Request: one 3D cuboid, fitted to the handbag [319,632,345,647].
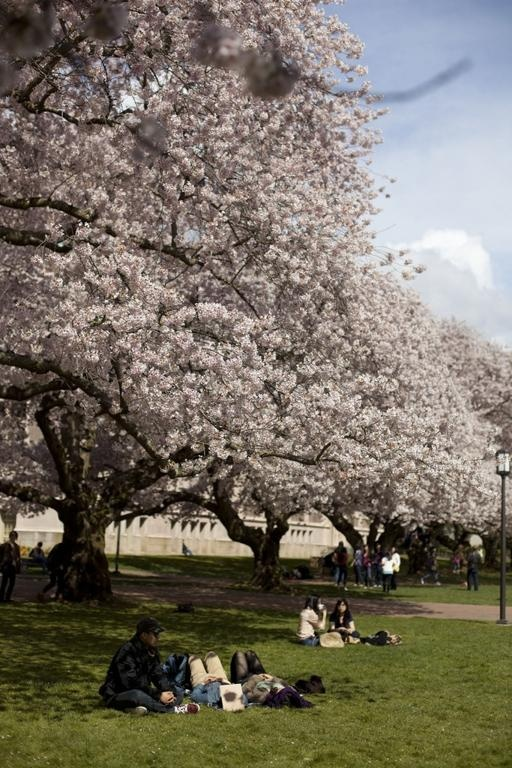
[{"bbox_3d":[1.401,4.803,18.789,0.630,0.261,0.407,6,-9,-39],"label":"handbag"}]

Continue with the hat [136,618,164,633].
[{"bbox_3d":[-1.288,2.956,12.279,0.284,0.139,0.197,-2,-1,-16],"label":"hat"}]

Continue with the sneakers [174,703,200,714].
[{"bbox_3d":[-0.852,3.973,12.287,0.339,0.120,0.110,2,-10,3],"label":"sneakers"}]

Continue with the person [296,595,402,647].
[{"bbox_3d":[1.763,4.588,19.320,1.787,0.794,1.043,-3,-14,5],"label":"person"}]

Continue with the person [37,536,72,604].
[{"bbox_3d":[-4.861,4.426,24.108,0.537,1.441,1.084,3,-7,-14],"label":"person"}]
